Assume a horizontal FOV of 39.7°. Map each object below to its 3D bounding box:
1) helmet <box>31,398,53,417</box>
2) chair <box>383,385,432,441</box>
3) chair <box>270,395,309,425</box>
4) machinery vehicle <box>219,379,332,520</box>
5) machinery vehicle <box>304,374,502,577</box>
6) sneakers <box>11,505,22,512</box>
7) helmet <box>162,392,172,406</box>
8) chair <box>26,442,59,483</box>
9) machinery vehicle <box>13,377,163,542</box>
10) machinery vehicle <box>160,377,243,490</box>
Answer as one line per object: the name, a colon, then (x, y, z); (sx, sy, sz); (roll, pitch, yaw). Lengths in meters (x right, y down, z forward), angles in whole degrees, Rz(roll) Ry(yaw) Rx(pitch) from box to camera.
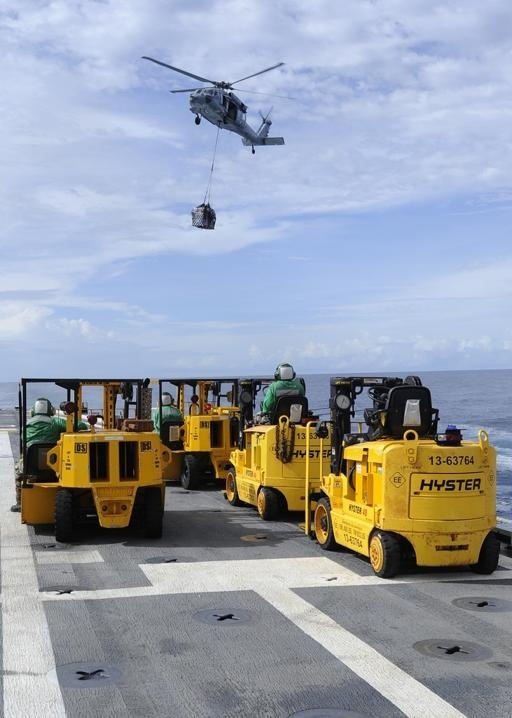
helmet: (-3.312, 0.785, 11.125); (0.282, 0.266, 0.298); (9, 11, 24)
chair: (1.789, 0.623, 8.319); (0.655, 0.598, 0.509); (0, 7, 5)
chair: (0.538, 0.839, 11.887); (0.492, 0.626, 0.540); (3, 13, -11)
machinery vehicle: (-0.146, 1.628, 12.085); (1.394, 2.039, 2.726); (1, 3, -14)
machinery vehicle: (1.727, 1.355, 9.101); (1.749, 2.179, 3.113); (1, -2, -18)
sneakers: (-4.006, 2.521, 11.851); (0.166, 0.094, 0.163); (-1, -8, 13)
helmet: (-2.282, 1.068, 18.239); (0.253, 0.257, 0.279); (2, 12, -4)
chair: (-3.161, 1.475, 10.462); (0.497, 0.629, 0.666); (2, -3, -10)
machinery vehicle: (-2.580, 1.388, 11.334); (2.082, 2.323, 3.778); (1, -5, -21)
machinery vehicle: (-1.372, 1.693, 17.547); (1.709, 2.590, 2.897); (7, -12, 4)
